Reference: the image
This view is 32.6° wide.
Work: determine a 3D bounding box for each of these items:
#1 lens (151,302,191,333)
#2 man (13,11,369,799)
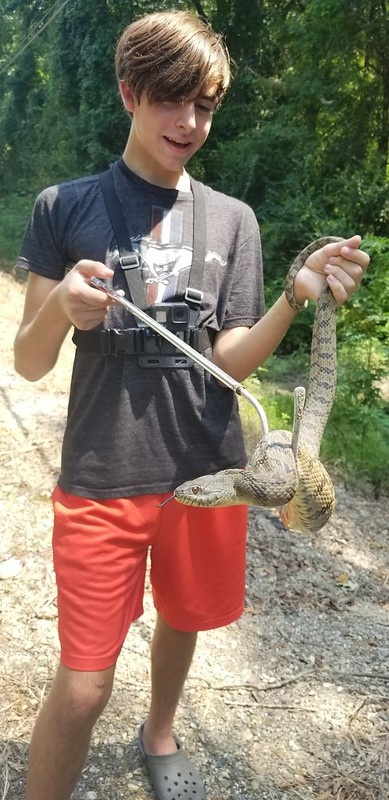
[{"bbox_3d":[-0.076,-0.268,2.107,0.144,0.107,0.085,-2,10,-16],"label":"lens"},{"bbox_3d":[-0.141,0.189,2.256,0.898,2.856,0.750,1,16,-29],"label":"man"}]
